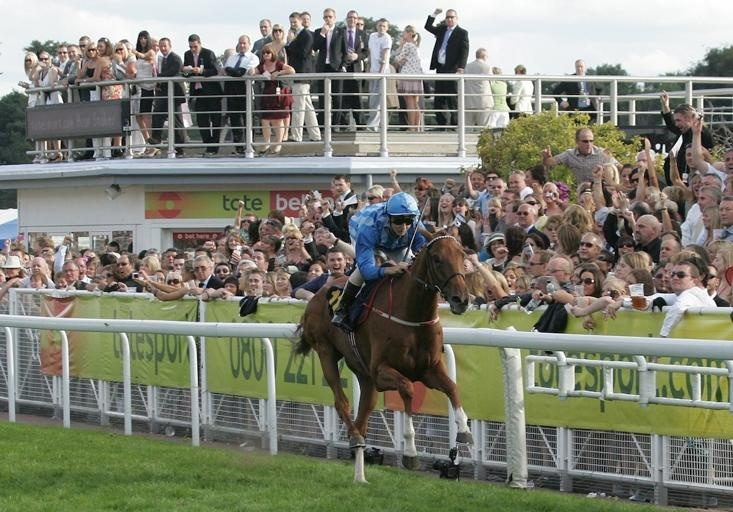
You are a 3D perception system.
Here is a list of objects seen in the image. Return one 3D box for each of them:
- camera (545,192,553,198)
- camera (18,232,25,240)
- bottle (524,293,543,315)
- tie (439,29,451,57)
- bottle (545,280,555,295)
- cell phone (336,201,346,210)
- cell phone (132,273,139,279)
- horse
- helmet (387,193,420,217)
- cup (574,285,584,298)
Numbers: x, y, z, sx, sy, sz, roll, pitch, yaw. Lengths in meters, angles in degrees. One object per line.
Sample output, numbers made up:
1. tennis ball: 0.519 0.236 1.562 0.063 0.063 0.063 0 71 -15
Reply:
1. camera: 2.287 -0.682 27.373 0.074 0.030 0.096 2 -8 0
2. camera: -5.689 -0.227 35.556 0.035 0.104 0.116 20 -1 -25
3. bottle: 1.922 0.596 24.997 0.194 0.217 0.158 0 1 15
4. tie: 1.173 -3.016 32.488 0.067 0.454 0.281 -2 2 -31
5. bottle: 2.107 0.416 25.049 0.126 0.186 0.117 3 -12 1
6. cell phone: -0.366 -0.574 28.671 0.097 0.091 0.165 3 -19 -8
7. cell phone: -3.090 0.335 28.818 0.078 0.083 0.133 -2 -3 12
8. horse: 0.234 1.185 24.301 0.795 2.687 2.201 -2 2 -41
9. helmet: 0.384 -0.534 24.248 0.256 0.233 0.294 5 27 -1
10. cup: 2.441 0.465 25.088 0.105 0.112 0.123 1 0 22
